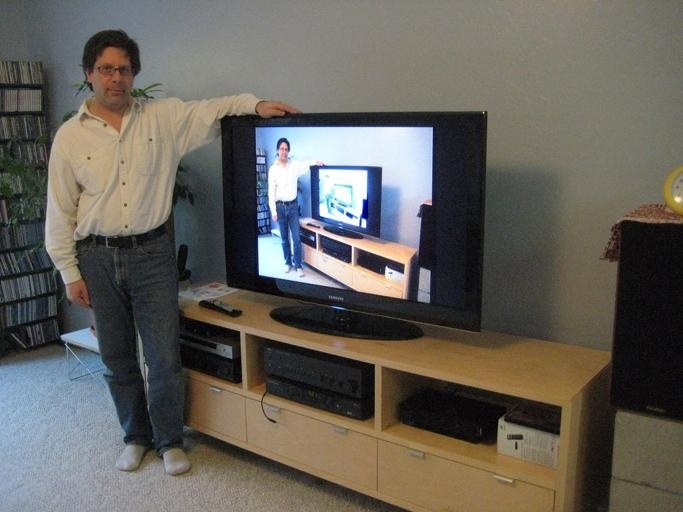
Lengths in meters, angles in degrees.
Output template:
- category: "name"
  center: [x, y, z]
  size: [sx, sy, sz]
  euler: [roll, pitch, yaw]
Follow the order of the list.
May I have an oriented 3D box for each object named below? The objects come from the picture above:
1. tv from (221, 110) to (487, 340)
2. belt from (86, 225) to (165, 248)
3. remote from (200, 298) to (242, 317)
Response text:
- category: "tv"
  center: [0.005, -0.206, 2.834]
  size: [1.430, 0.929, 0.189]
  euler: [9, 16, 32]
- category: "belt"
  center: [-1.086, -0.087, 2.921]
  size: [0.415, 0.091, 0.104]
  euler: [-4, 15, -13]
- category: "remote"
  center: [-0.622, 0.242, 3.043]
  size: [0.087, 0.065, 0.259]
  euler: [-13, 25, -37]
